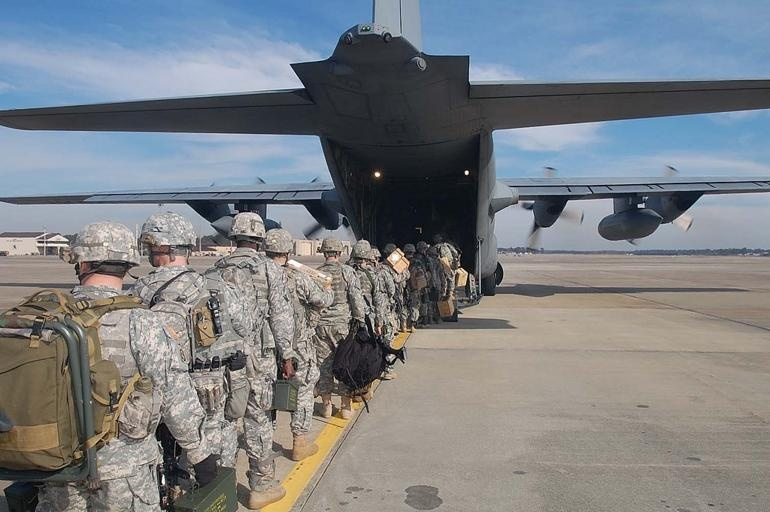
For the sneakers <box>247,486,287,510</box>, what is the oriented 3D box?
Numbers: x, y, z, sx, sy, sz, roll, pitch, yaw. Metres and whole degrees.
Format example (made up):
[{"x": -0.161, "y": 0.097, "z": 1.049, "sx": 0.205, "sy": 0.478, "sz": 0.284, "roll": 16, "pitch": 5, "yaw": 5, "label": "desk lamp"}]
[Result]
[{"x": -1.245, "y": 2.496, "z": 6.640, "sx": 0.393, "sy": 0.224, "sz": 0.158, "roll": -10, "pitch": 13, "yaw": -32, "label": "sneakers"}]

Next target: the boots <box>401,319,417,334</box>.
[{"x": 0.422, "y": 1.523, "z": 13.718, "sx": 0.437, "sy": 0.384, "sz": 0.201, "roll": -5, "pitch": -7, "yaw": 33, "label": "boots"}]

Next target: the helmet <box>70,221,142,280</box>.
[{"x": -2.425, "y": -0.042, "z": 5.430, "sx": 0.427, "sy": 0.432, "sz": 0.450, "roll": 2, "pitch": 20, "yaw": -16, "label": "helmet"}]

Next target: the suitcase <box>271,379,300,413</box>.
[{"x": -1.097, "y": 1.513, "z": 6.839, "sx": 0.222, "sy": 0.315, "sz": 0.391, "roll": -7, "pitch": -21, "yaw": 18, "label": "suitcase"}]

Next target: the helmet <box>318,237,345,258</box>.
[{"x": -0.751, "y": -0.126, "z": 8.955, "sx": 0.305, "sy": 0.231, "sz": 0.315, "roll": 0, "pitch": -9, "yaw": -2, "label": "helmet"}]

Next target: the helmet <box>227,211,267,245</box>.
[{"x": -1.567, "y": -0.326, "z": 7.098, "sx": 0.356, "sy": 0.293, "sz": 0.378, "roll": 3, "pitch": 10, "yaw": -1, "label": "helmet"}]

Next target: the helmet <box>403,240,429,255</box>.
[{"x": 0.657, "y": -0.198, "z": 14.365, "sx": 0.502, "sy": 0.195, "sz": 0.358, "roll": -2, "pitch": -1, "yaw": 43, "label": "helmet"}]

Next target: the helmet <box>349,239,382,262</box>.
[{"x": -0.297, "y": -0.107, "z": 10.226, "sx": 0.526, "sy": 0.314, "sz": 0.330, "roll": -1, "pitch": -1, "yaw": -9, "label": "helmet"}]

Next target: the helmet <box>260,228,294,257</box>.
[{"x": -1.272, "y": -0.158, "z": 7.302, "sx": 0.335, "sy": 0.308, "sz": 0.353, "roll": 4, "pitch": 9, "yaw": -2, "label": "helmet"}]
